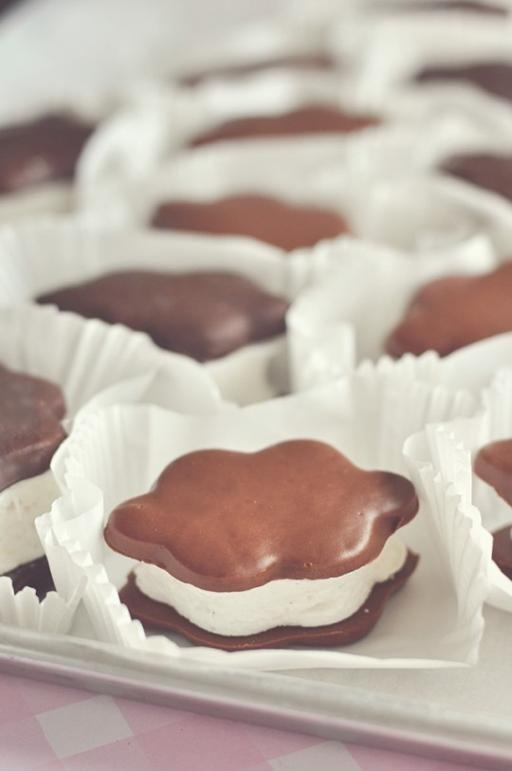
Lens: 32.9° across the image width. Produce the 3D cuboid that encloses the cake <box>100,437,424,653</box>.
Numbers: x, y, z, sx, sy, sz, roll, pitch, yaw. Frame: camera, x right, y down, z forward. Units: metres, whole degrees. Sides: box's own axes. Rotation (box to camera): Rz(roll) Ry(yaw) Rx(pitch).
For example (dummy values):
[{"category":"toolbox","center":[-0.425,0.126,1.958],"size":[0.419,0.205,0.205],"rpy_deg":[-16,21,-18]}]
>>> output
[{"category":"cake","center":[0.011,0.054,0.288],"size":[0.123,0.045,0.074],"rpy_deg":[-7,36,-10]}]
